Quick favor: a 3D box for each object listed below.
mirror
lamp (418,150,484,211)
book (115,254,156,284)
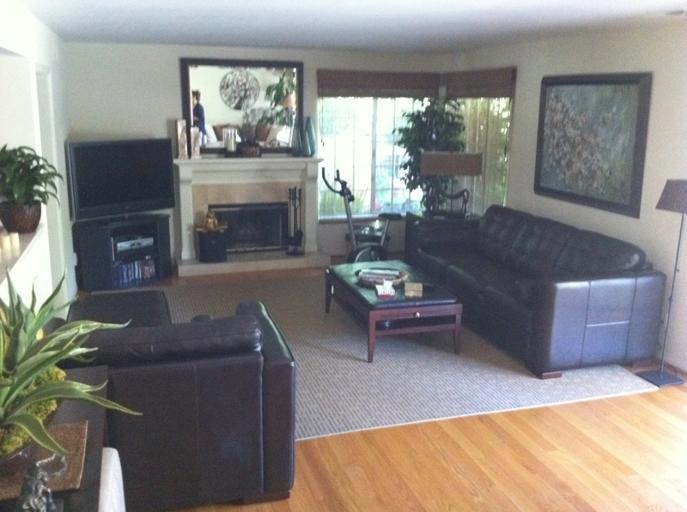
[{"bbox_3d":[-1.312,-1.897,6.844,1.537,1.192,0.051,0,1,-2],"label":"mirror"},{"bbox_3d":[1.287,-0.853,6.413,0.713,0.727,0.301,1,2,12],"label":"lamp"},{"bbox_3d":[-2.508,0.198,6.368,0.507,0.372,0.275,-4,1,-42],"label":"book"}]
